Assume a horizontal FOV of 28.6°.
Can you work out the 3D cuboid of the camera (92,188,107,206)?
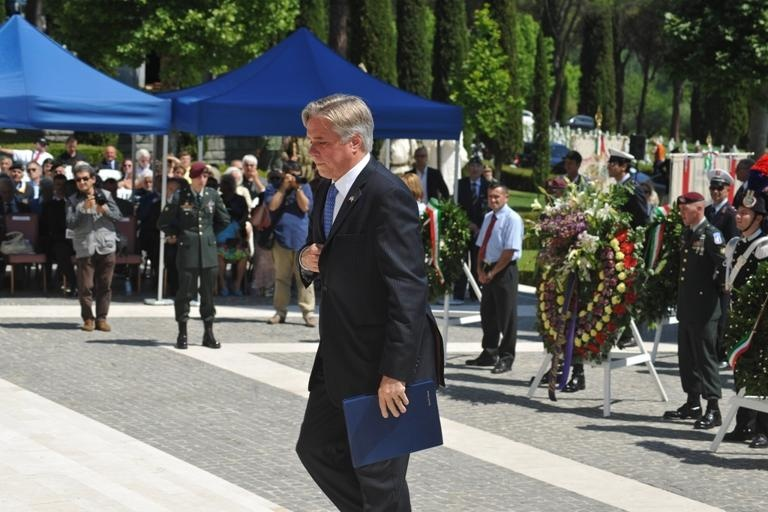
[{"bbox_3d":[-4.877,-1.025,25.807,0.232,0.123,0.360,7,14,-23],"label":"camera"}]

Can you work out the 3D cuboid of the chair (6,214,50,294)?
[{"bbox_3d":[-6.904,-0.066,28.808,1.072,1.406,1.028,-1,3,-34],"label":"chair"}]

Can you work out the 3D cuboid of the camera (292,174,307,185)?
[{"bbox_3d":[-1.521,-1.383,26.796,0.146,0.089,0.246,3,10,-20],"label":"camera"}]
